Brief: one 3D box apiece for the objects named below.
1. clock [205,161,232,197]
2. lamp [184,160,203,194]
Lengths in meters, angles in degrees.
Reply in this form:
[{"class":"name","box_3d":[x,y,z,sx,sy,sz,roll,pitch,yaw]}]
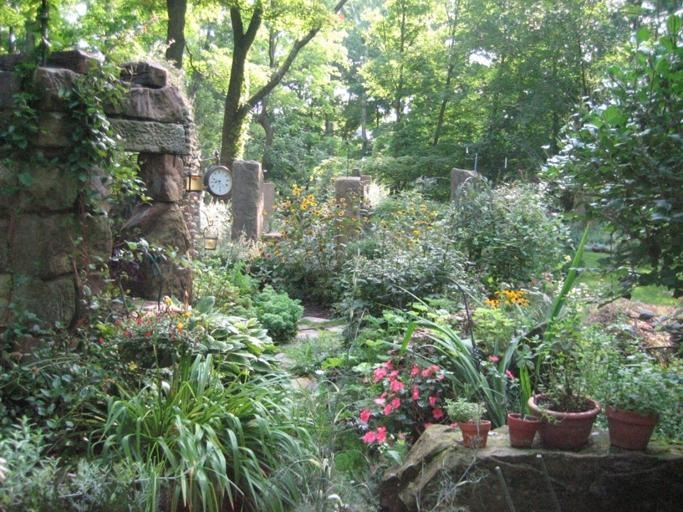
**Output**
[{"class":"clock","box_3d":[-2.265,-1.409,10.730,0.504,0.588,0.482,5,-1,-14]},{"class":"lamp","box_3d":[-2.100,-1.120,8.465,0.270,0.388,0.282,2,0,31]}]
